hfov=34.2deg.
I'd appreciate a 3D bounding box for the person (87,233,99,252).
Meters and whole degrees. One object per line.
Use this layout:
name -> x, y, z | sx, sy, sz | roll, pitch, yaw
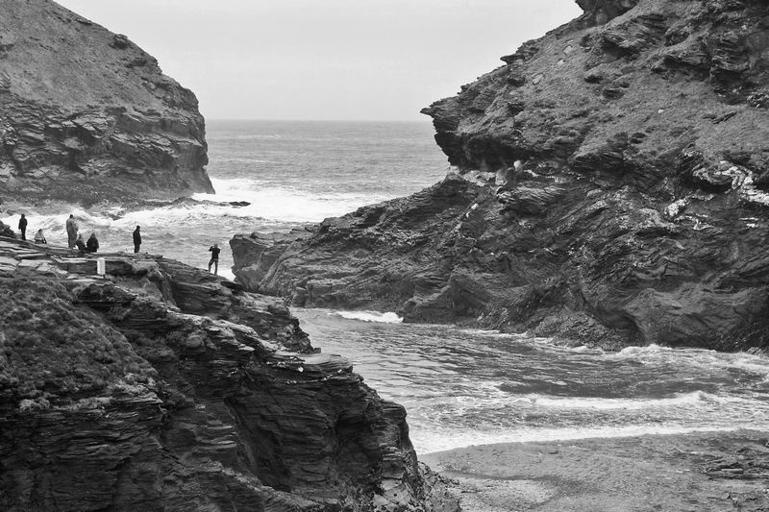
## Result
person -> -11.024, -0.546, 46.842 | 0.392, 0.620, 0.676 | 2, 5, -14
